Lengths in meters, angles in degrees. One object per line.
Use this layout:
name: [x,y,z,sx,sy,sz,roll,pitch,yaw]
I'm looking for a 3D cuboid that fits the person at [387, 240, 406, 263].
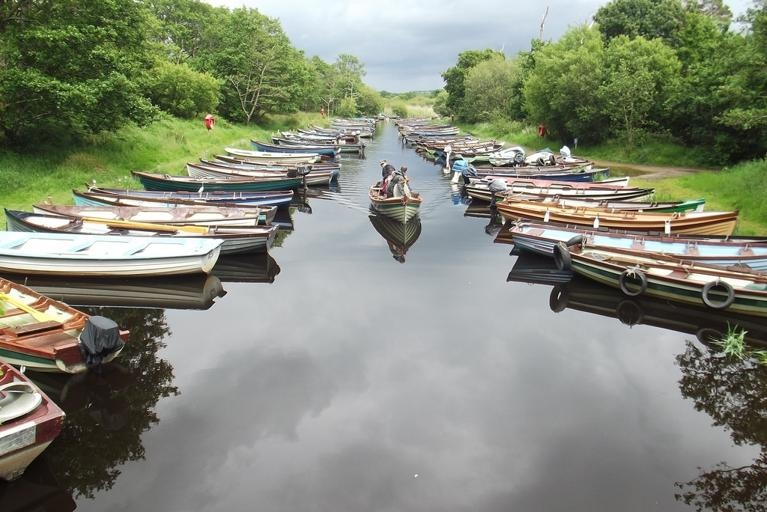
person: [0.660,-0.239,26.252,0.435,0.567,1.396,-7,27,-8]
